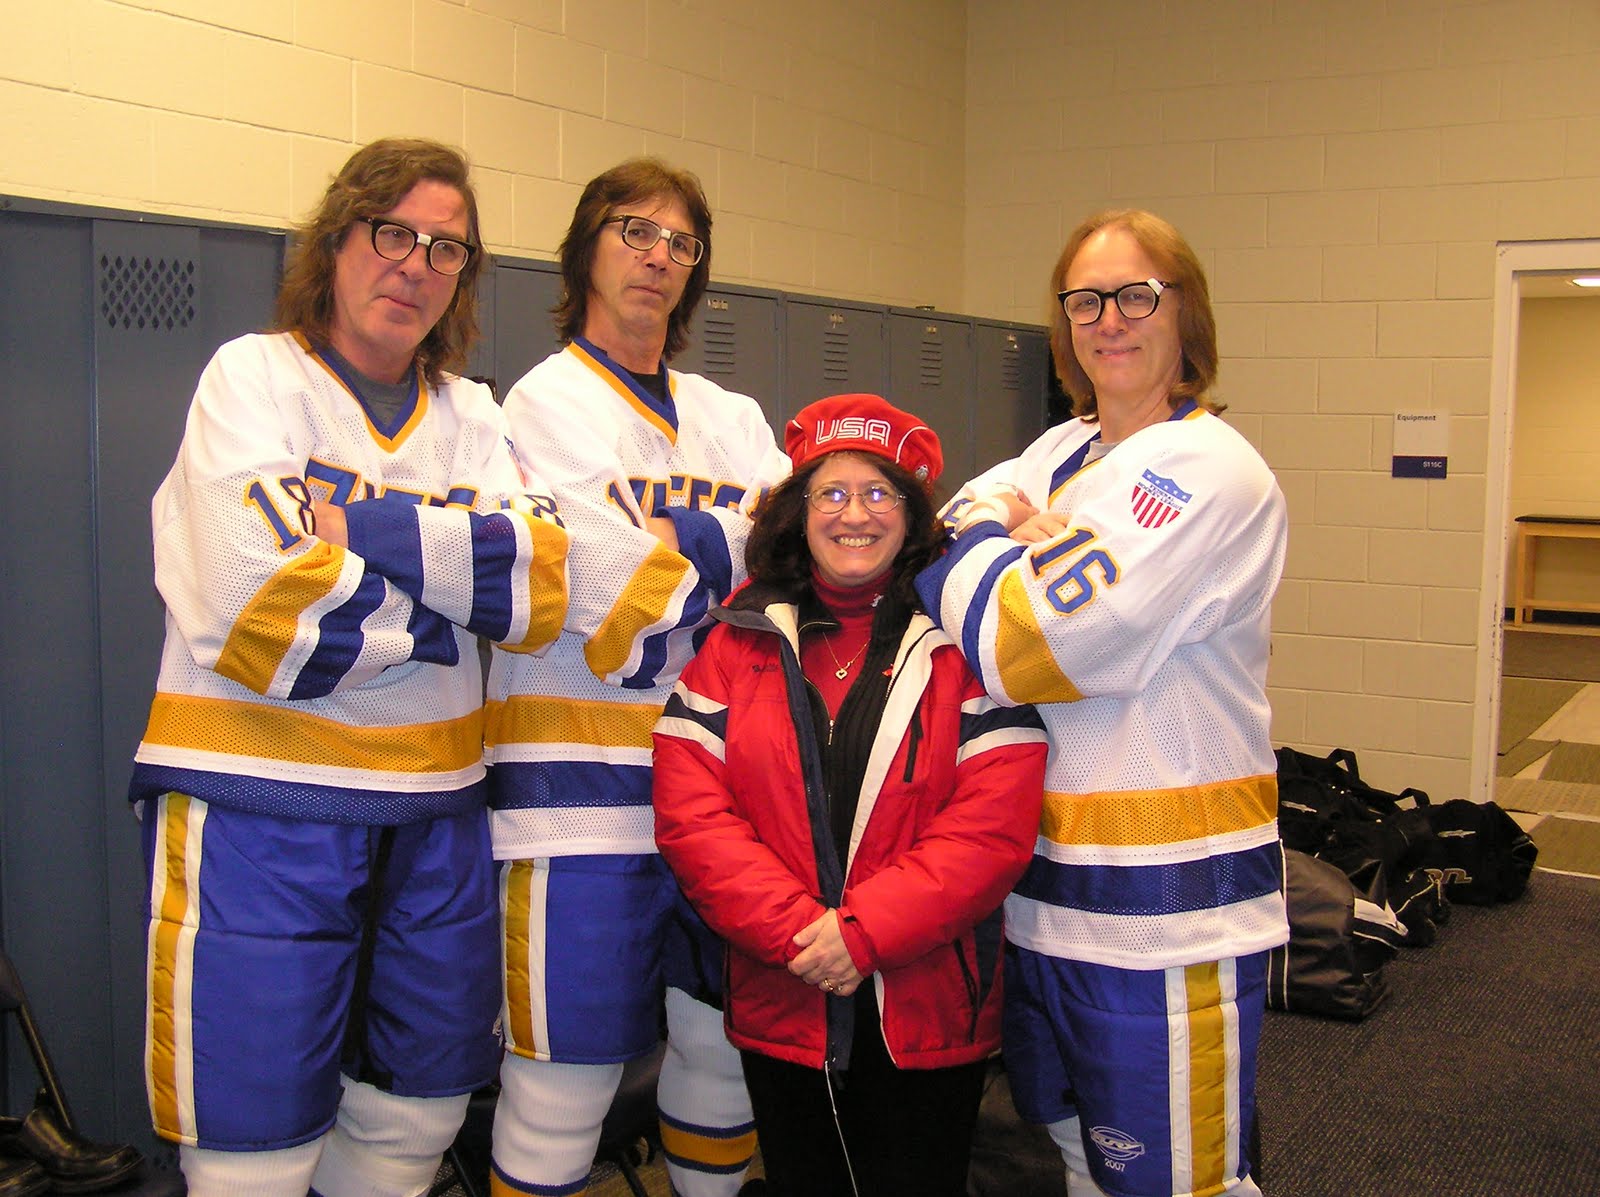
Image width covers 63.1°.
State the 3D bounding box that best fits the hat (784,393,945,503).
[{"bbox_3d":[0.137,-0.306,2.458,0.303,0.136,0.366,3,10,40],"label":"hat"}]

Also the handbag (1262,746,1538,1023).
[{"bbox_3d":[2.043,0.949,4.562,0.887,0.324,0.923,1,10,32],"label":"handbag"}]
